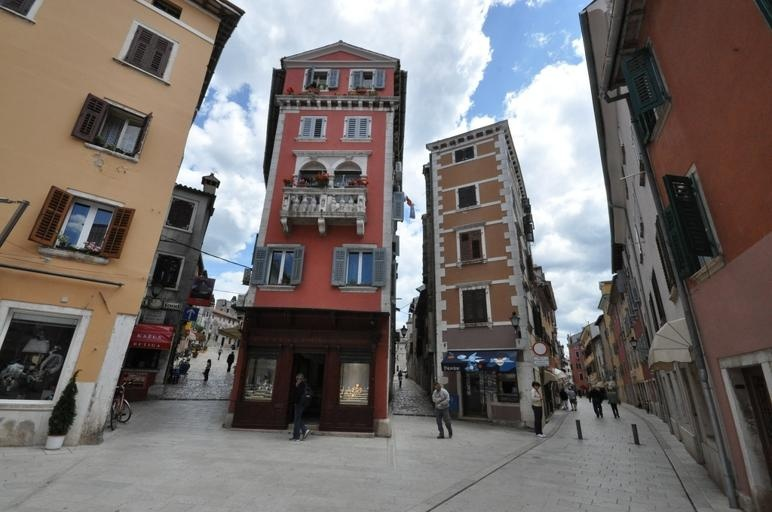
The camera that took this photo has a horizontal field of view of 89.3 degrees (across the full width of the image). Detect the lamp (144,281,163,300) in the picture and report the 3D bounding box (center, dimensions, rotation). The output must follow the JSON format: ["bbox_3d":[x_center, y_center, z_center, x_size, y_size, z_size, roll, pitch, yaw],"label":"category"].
[{"bbox_3d":[-14.823,2.208,25.053,0.733,0.952,0.259,20,-17,-31],"label":"lamp"}]

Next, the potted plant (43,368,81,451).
[{"bbox_3d":[-10.660,5.106,12.950,0.679,2.380,0.523,12,-15,-37],"label":"potted plant"}]

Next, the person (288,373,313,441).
[{"bbox_3d":[-3.437,6.158,15.940,0.638,2.535,1.299,5,-12,-9],"label":"person"}]

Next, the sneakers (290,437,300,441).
[{"bbox_3d":[-3.611,7.255,15.447,0.353,0.153,0.126,8,-35,4],"label":"sneakers"}]
